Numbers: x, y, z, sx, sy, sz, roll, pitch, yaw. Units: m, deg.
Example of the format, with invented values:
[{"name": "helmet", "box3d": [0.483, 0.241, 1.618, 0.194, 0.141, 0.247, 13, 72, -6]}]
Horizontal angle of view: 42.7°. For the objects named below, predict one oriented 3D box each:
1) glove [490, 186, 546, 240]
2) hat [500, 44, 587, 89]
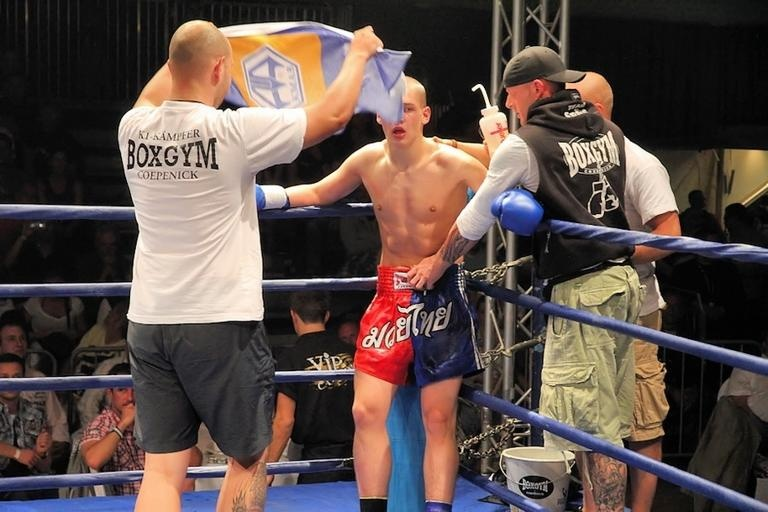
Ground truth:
[{"name": "glove", "box3d": [0.678, -0.220, 5.128, 0.269, 0.205, 0.130, 40, -9, 7]}, {"name": "hat", "box3d": [0.832, -1.010, 5.256, 0.369, 0.175, 0.216, -4, 17, 17]}]
